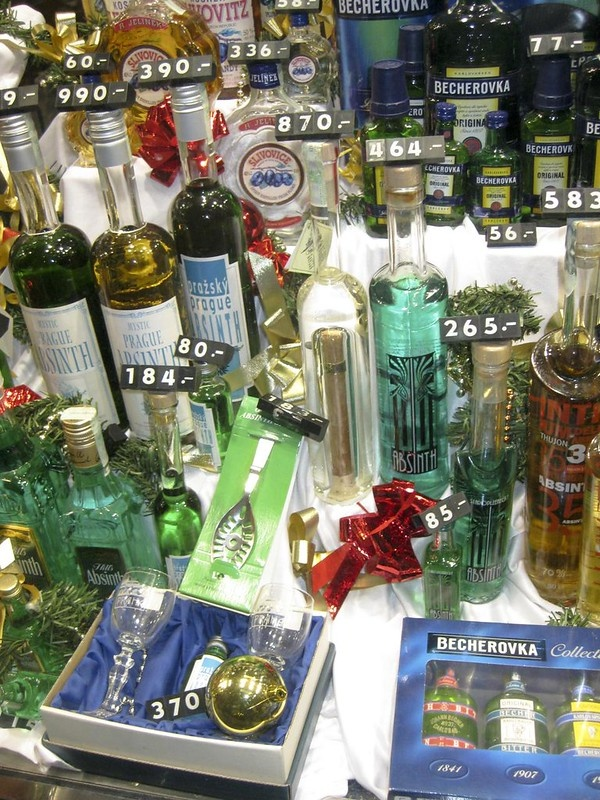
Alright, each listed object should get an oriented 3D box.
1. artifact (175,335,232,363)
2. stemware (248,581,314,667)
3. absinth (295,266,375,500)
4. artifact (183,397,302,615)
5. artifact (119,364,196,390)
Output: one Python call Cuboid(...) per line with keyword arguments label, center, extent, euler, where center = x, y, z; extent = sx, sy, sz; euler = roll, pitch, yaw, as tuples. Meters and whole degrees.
Cuboid(label="artifact", center=(-0.120, -0.060, 0.804), extent=(0.068, 0.035, 0.016), euler=(12, 0, 12))
Cuboid(label="stemware", center=(-0.009, 0.268, 0.765), extent=(0.082, 0.091, 0.079), euler=(11, -11, 6))
Cuboid(label="absinth", center=(0.051, -0.015, 0.903), extent=(0.099, 0.357, 0.088), euler=(-4, 26, 5))
Cuboid(label="artifact", center=(-0.068, 0.155, 0.887), extent=(0.122, 0.305, 0.043), euler=(17, -12, 6))
Cuboid(label="artifact", center=(-0.178, -0.027, 0.784), extent=(0.104, 0.030, 0.034), euler=(4, 30, 19))
